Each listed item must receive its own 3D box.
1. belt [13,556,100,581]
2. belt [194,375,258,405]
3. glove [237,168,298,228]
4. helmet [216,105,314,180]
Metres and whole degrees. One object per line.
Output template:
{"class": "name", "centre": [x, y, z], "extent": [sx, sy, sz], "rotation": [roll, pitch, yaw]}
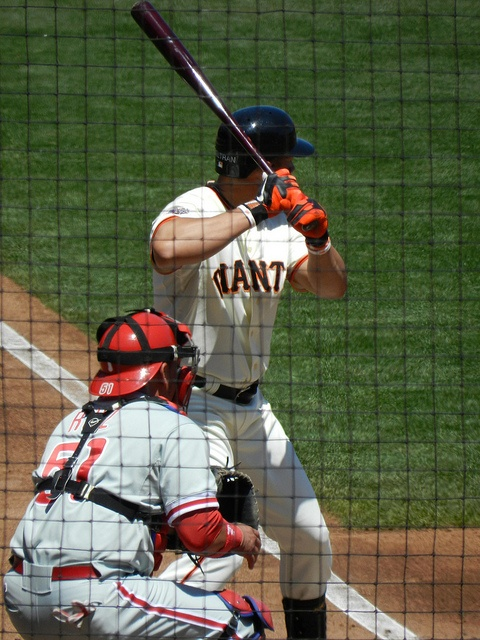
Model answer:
{"class": "belt", "centre": [-0.895, 1.156, 5.481], "extent": [0.508, 0.106, 0.098], "rotation": [-4, -6, 25]}
{"class": "belt", "centre": [-0.077, 0.379, 6.213], "extent": [0.217, 0.071, 0.207], "rotation": [17, -4, 10]}
{"class": "glove", "centre": [0.165, -0.630, 6.035], "extent": [0.156, 0.319, 0.365], "rotation": [-6, -8, 42]}
{"class": "helmet", "centre": [0.104, -0.948, 6.339], "extent": [0.553, 0.304, 0.304], "rotation": [-7, 33, -4]}
